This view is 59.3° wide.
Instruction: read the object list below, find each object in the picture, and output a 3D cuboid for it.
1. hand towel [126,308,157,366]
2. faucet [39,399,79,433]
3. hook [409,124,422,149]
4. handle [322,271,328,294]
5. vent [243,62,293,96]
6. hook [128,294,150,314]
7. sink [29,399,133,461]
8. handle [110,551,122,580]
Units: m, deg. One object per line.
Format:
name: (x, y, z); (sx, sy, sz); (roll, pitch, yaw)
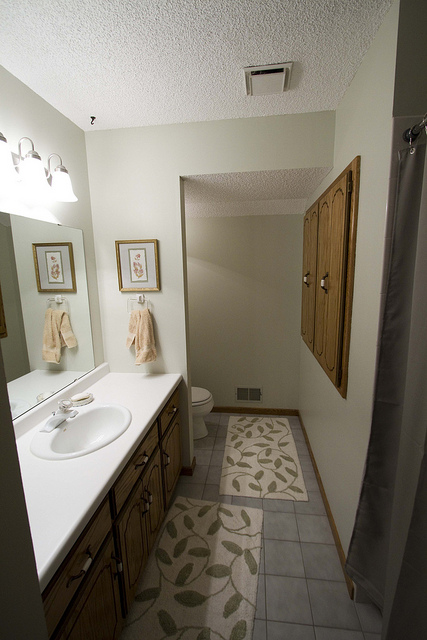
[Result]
hand towel: (-0.422, 0.102, 2.265); (0.176, 0.324, 0.084); (1, -1, 14)
faucet: (-0.627, 0.384, 1.579); (0.057, 0.119, 0.199); (4, 23, 18)
hook: (0.597, -0.544, 1.115); (0.022, 0.080, 0.049); (10, 11, 21)
handle: (0.606, -0.201, 2.051); (0.028, 0.115, 0.062); (2, 9, 17)
vent: (0.231, -1.040, 1.624); (0.200, 0.033, 0.234); (1, 10, 8)
hook: (-0.444, -0.106, 2.261); (0.086, 0.107, 0.014); (3, 15, 10)
sink: (-0.547, 0.454, 1.538); (0.277, 0.124, 0.459); (4, 12, -3)
handle: (-0.336, 0.841, 1.294); (0.053, 0.093, 0.026); (-2, 1, -9)
